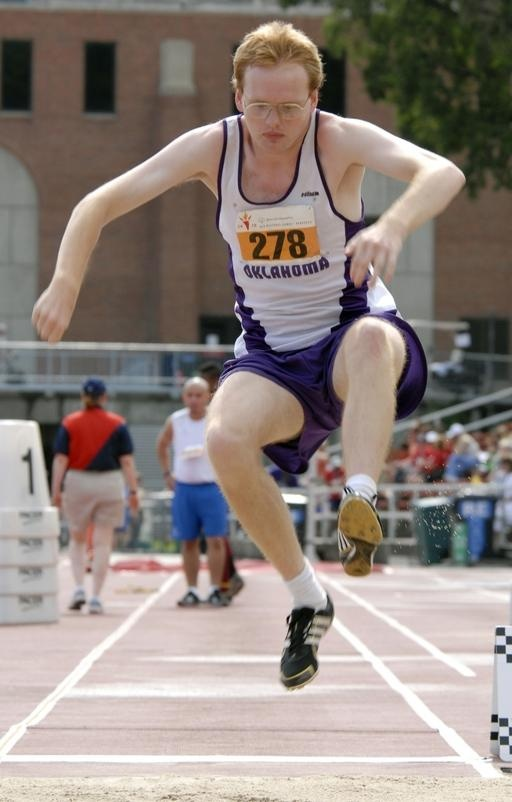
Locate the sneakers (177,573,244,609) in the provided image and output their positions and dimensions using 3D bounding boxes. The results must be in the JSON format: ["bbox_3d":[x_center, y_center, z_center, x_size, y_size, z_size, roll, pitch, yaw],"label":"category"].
[{"bbox_3d":[-0.245,1.200,9.023,0.434,0.185,0.145,1,10,-33],"label":"sneakers"}]

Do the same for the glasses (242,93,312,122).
[{"bbox_3d":[0.058,-0.845,3.981,0.162,0.055,0.041,1,6,-3],"label":"glasses"}]

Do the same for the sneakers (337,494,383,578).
[{"bbox_3d":[0.269,0.339,3.707,0.091,0.248,0.107,3,27,9],"label":"sneakers"}]

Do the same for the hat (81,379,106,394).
[{"bbox_3d":[-0.950,-0.131,8.574,0.084,0.097,0.119,3,12,9],"label":"hat"}]

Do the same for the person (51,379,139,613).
[{"bbox_3d":[-0.932,0.537,8.492,0.483,1.390,0.360,0,-7,6],"label":"person"}]

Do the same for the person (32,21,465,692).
[{"bbox_3d":[0.058,-0.137,4.120,1.063,1.980,0.762,4,6,25],"label":"person"}]

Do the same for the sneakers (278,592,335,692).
[{"bbox_3d":[0.146,0.726,4.303,0.102,0.310,0.132,-11,-44,27],"label":"sneakers"}]
